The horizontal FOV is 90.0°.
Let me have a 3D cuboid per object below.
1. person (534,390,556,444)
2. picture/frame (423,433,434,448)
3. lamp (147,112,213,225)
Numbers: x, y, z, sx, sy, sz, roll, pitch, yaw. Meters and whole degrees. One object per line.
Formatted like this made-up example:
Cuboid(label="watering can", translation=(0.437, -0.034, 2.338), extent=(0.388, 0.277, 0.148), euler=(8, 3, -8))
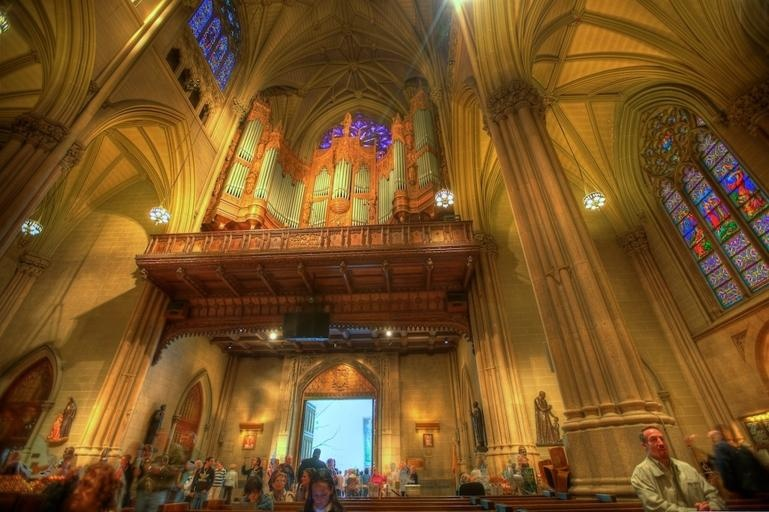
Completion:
Cuboid(label="person", translation=(4.503, 4.566, 10.858), extent=(0.653, 1.377, 0.252), euler=(-10, -33, 16))
Cuboid(label="picture/frame", translation=(1.786, 7.598, 15.846), extent=(0.539, 0.702, 0.078), euler=(3, -44, 3))
Cuboid(label="lamp", translation=(-7.936, -3.220, 14.815), extent=(0.756, 5.363, 2.791), euler=(21, -37, -31))
